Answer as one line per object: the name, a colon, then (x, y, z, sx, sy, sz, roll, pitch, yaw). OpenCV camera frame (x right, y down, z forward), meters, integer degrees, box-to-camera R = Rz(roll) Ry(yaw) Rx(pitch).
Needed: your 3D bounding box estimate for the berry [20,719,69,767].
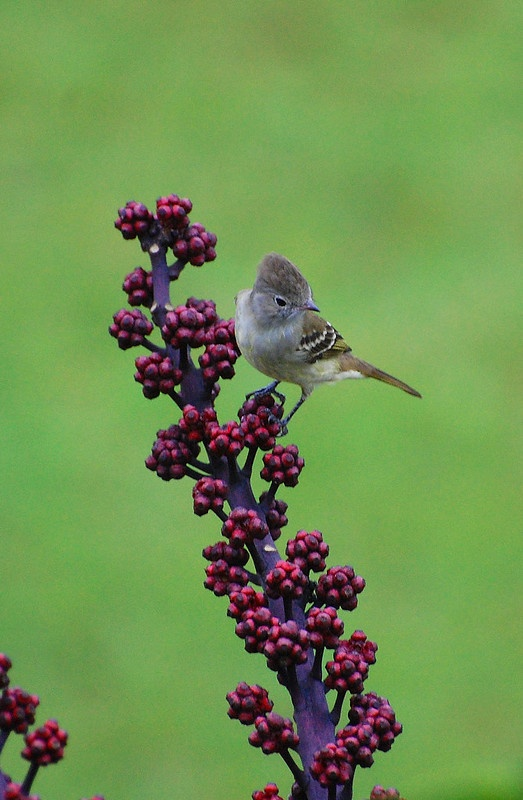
berry: (-0.922, 1.484, 5.485, 0.175, 0.196, 0.173, 29, -42, -35)

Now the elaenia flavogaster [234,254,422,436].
elaenia flavogaster: (0.380, -0.416, 7.796, 1.365, 0.769, 1.080, 3, -68, -33)
